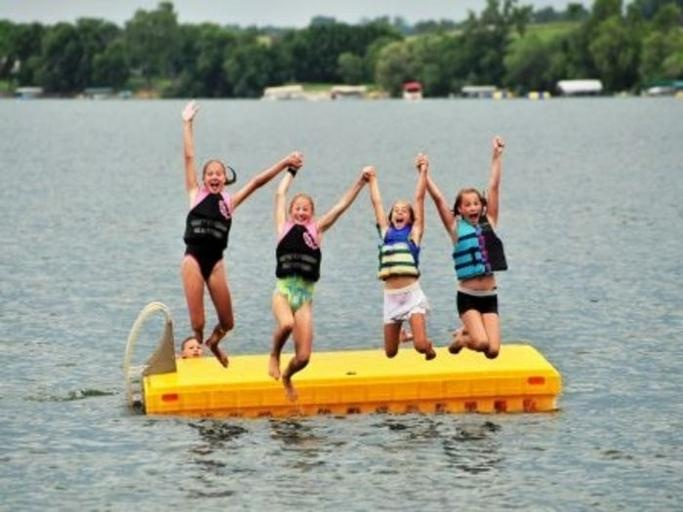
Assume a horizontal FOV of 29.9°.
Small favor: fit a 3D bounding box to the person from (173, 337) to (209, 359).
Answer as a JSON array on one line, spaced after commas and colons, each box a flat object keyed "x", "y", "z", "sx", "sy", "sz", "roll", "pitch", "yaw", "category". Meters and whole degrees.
[{"x": -3.504, "y": 2.111, "z": 29.854, "sx": 0.556, "sy": 0.559, "sz": 0.878, "roll": 4, "pitch": 15, "yaw": -9, "category": "person"}]

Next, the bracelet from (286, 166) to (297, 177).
[{"x": -1.057, "y": -1.884, "z": 28.425, "sx": 0.213, "sy": 0.160, "sz": 0.198, "roll": 11, "pitch": 30, "yaw": -32, "category": "bracelet"}]
